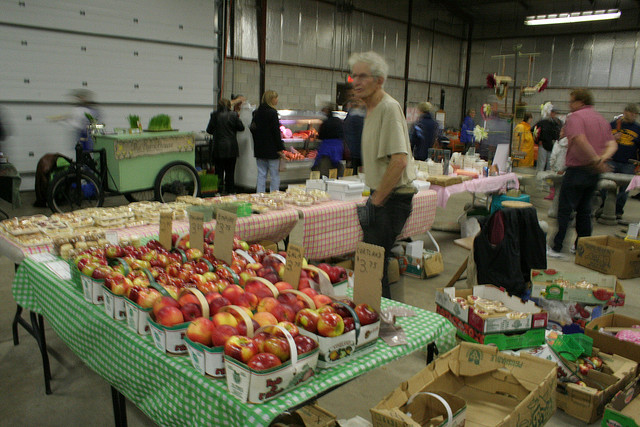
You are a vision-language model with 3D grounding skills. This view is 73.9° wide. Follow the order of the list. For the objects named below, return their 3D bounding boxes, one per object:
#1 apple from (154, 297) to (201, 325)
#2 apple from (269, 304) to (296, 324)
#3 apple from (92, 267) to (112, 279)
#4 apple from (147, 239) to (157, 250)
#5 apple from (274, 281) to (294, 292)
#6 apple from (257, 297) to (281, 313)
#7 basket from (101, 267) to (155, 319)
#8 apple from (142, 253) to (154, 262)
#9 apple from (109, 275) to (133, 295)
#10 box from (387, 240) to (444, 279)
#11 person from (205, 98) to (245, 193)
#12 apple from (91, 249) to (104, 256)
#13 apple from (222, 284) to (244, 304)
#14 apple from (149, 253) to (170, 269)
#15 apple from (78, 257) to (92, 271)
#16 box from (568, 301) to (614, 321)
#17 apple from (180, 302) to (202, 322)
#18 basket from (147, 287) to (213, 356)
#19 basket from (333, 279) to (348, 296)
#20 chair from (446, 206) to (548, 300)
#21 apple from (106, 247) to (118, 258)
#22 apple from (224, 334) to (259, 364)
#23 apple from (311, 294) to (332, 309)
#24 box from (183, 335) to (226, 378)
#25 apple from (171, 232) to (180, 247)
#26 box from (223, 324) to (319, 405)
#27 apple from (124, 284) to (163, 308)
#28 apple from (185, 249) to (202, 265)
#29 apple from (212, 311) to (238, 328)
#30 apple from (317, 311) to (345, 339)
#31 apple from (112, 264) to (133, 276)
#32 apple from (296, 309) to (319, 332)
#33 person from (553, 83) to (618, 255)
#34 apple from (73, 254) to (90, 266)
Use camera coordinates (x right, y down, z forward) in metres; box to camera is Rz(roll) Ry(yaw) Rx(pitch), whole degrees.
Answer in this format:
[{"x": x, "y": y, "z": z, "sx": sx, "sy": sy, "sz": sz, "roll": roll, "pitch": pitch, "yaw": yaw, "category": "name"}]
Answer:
[{"x": -0.730, "y": 0.491, "z": 2.205, "sx": 0.184, "sy": 0.155, "sz": 0.157, "roll": 22, "pitch": -10, "yaw": 1, "category": "apple"}, {"x": -0.184, "y": 0.508, "z": 2.148, "sx": 0.093, "sy": 0.104, "sz": 0.094, "roll": 2, "pitch": -5, "yaw": 11, "category": "apple"}, {"x": -1.252, "y": 0.339, "z": 2.422, "sx": 0.066, "sy": 0.065, "sz": 0.067, "roll": 7, "pitch": 1, "yaw": 3, "category": "apple"}, {"x": -1.100, "y": 0.206, "z": 2.777, "sx": 0.058, "sy": 0.031, "sz": 0.098, "roll": -4, "pitch": 16, "yaw": -23, "category": "apple"}, {"x": -0.202, "y": 0.396, "z": 2.322, "sx": 0.052, "sy": 0.053, "sz": 0.063, "roll": 15, "pitch": 33, "yaw": -43, "category": "apple"}, {"x": -0.273, "y": 0.468, "z": 2.187, "sx": 0.125, "sy": 0.054, "sz": 0.078, "roll": 7, "pitch": 15, "yaw": 15, "category": "apple"}, {"x": -1.107, "y": 0.420, "z": 2.502, "sx": 0.223, "sy": 0.313, "sz": 0.290, "roll": 13, "pitch": 16, "yaw": 38, "category": "basket"}, {"x": -1.067, "y": 0.270, "z": 2.613, "sx": 0.044, "sy": 0.044, "sz": 0.046, "roll": -1, "pitch": 2, "yaw": -4, "category": "apple"}, {"x": -1.100, "y": 0.387, "z": 2.338, "sx": 0.096, "sy": 0.124, "sz": 0.102, "roll": -3, "pitch": 14, "yaw": -10, "category": "apple"}, {"x": 1.251, "y": 0.625, "z": 5.378, "sx": 0.583, "sy": 0.386, "sz": 0.580, "roll": -3, "pitch": 9, "yaw": -44, "category": "box"}, {"x": -1.829, "y": -1.304, "z": 8.421, "sx": 0.614, "sy": 1.855, "sz": 0.594, "roll": 10, "pitch": 16, "yaw": 29, "category": "person"}, {"x": -1.390, "y": 0.244, "z": 2.646, "sx": 0.039, "sy": 0.030, "sz": 0.041, "roll": 4, "pitch": 1, "yaw": 38, "category": "apple"}, {"x": -0.469, "y": 0.428, "z": 2.284, "sx": 0.086, "sy": 0.094, "sz": 0.089, "roll": 0, "pitch": 6, "yaw": 1, "category": "apple"}, {"x": -0.984, "y": 0.290, "z": 2.589, "sx": 0.076, "sy": 0.102, "sz": 0.089, "roll": -6, "pitch": 51, "yaw": 11, "category": "apple"}, {"x": -1.381, "y": 0.296, "z": 2.495, "sx": 0.064, "sy": 0.052, "sz": 0.068, "roll": -3, "pitch": -11, "yaw": 11, "category": "apple"}, {"x": 2.453, "y": 0.881, "z": 3.836, "sx": 0.213, "sy": 0.148, "sz": 0.226, "roll": 1, "pitch": 5, "yaw": 9, "category": "box"}, {"x": -0.655, "y": 0.498, "z": 2.164, "sx": 0.083, "sy": 0.091, "sz": 0.087, "roll": -16, "pitch": 8, "yaw": 0, "category": "apple"}, {"x": -0.742, "y": 0.514, "z": 2.272, "sx": 0.318, "sy": 0.357, "sz": 0.256, "roll": -6, "pitch": 14, "yaw": -39, "category": "basket"}, {"x": 0.122, "y": 0.425, "z": 2.429, "sx": 0.081, "sy": 0.106, "sz": 0.087, "roll": 3, "pitch": 7, "yaw": 43, "category": "basket"}, {"x": 1.990, "y": 0.349, "z": 4.629, "sx": 0.787, "sy": 0.959, "sz": 0.925, "roll": -7, "pitch": 17, "yaw": -41, "category": "chair"}, {"x": -1.296, "y": 0.244, "z": 2.637, "sx": 0.065, "sy": 0.055, "sz": 0.050, "roll": -5, "pitch": 16, "yaw": -27, "category": "apple"}, {"x": -0.365, "y": 0.619, "z": 1.956, "sx": 0.114, "sy": 0.121, "sz": 0.120, "roll": 8, "pitch": 12, "yaw": -10, "category": "apple"}, {"x": 0.006, "y": 0.457, "z": 2.240, "sx": 0.068, "sy": 0.073, "sz": 0.070, "roll": -1, "pitch": 10, "yaw": 28, "category": "apple"}, {"x": -0.558, "y": 0.675, "z": 2.047, "sx": 0.177, "sy": 0.130, "sz": 0.151, "roll": 13, "pitch": 14, "yaw": 37, "category": "box"}, {"x": -0.992, "y": 0.181, "z": 2.904, "sx": 0.070, "sy": 0.088, "sz": 0.070, "roll": -11, "pitch": 12, "yaw": -34, "category": "apple"}, {"x": -0.230, "y": 0.681, "z": 2.077, "sx": 0.285, "sy": 0.321, "sz": 0.455, "roll": 7, "pitch": 4, "yaw": 40, "category": "box"}, {"x": -0.957, "y": 0.424, "z": 2.253, "sx": 0.130, "sy": 0.078, "sz": 0.136, "roll": 11, "pitch": 9, "yaw": 17, "category": "apple"}, {"x": -0.800, "y": 0.266, "z": 2.680, "sx": 0.085, "sy": 0.121, "sz": 0.090, "roll": -6, "pitch": 23, "yaw": 6, "category": "apple"}, {"x": -0.471, "y": 0.519, "z": 2.086, "sx": 0.077, "sy": 0.078, "sz": 0.092, "roll": -2, "pitch": 0, "yaw": -18, "category": "apple"}, {"x": 0.051, "y": 0.540, "z": 2.112, "sx": 0.112, "sy": 0.116, "sz": 0.111, "roll": -1, "pitch": -30, "yaw": -46, "category": "apple"}, {"x": -1.163, "y": 0.319, "z": 2.472, "sx": 0.068, "sy": 0.072, "sz": 0.070, "roll": -4, "pitch": 2, "yaw": -22, "category": "apple"}, {"x": -0.061, "y": 0.525, "z": 2.091, "sx": 0.090, "sy": 0.099, "sz": 0.094, "roll": -11, "pitch": 1, "yaw": -18, "category": "apple"}, {"x": 3.488, "y": -0.466, "z": 5.601, "sx": 0.579, "sy": 2.222, "sz": 0.770, "roll": 12, "pitch": 17, "yaw": 34, "category": "person"}, {"x": -1.435, "y": 0.270, "z": 2.539, "sx": 0.054, "sy": 0.051, "sz": 0.054, "roll": 28, "pitch": -51, "yaw": -31, "category": "apple"}]
